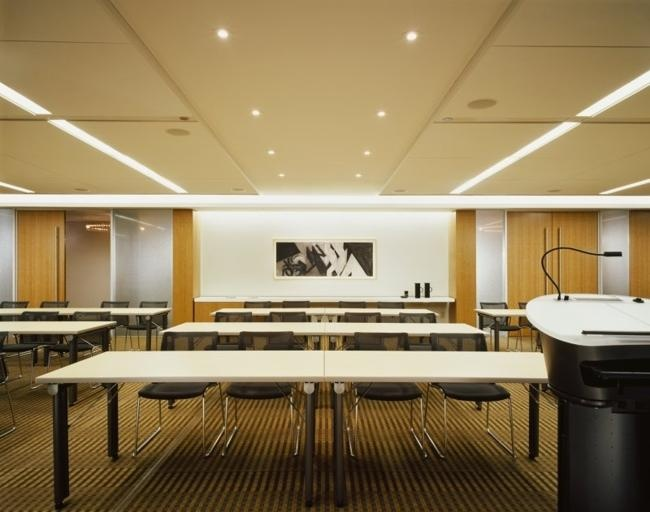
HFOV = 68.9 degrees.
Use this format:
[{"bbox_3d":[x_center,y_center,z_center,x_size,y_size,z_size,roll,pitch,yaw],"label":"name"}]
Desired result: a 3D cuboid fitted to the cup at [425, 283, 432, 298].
[{"bbox_3d":[2.047,0.674,9.471,0.117,0.310,0.262,2,14,10],"label":"cup"}]
